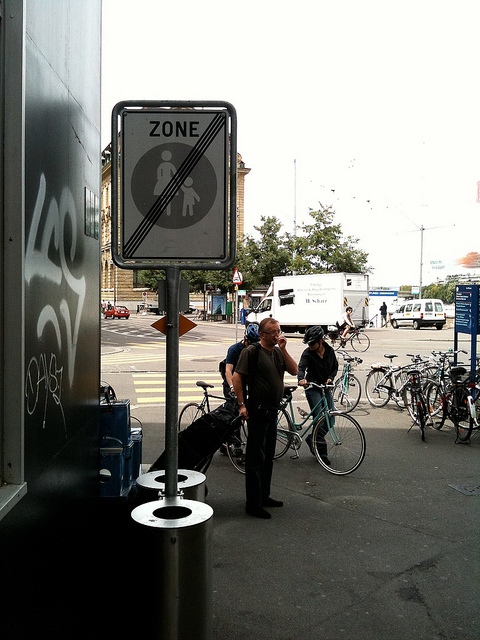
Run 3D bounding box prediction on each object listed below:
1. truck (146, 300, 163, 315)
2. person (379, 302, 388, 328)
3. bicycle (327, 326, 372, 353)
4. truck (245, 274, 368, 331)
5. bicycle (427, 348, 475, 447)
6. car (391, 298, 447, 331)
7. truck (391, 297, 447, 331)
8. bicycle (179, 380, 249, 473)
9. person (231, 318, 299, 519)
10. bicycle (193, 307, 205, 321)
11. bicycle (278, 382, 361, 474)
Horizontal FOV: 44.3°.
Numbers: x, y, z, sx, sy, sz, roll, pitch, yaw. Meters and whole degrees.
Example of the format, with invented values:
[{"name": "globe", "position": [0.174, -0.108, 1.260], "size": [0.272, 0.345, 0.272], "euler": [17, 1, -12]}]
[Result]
[{"name": "truck", "position": [-10.128, -1.600, 68.336], "size": [1.087, 1.642, 6.473], "euler": [0, 1, -11]}, {"name": "person", "position": [10.626, -0.448, 43.485], "size": [0.406, 1.782, 1.867], "euler": [0, 1, 12]}, {"name": "bicycle", "position": [4.163, 0.732, 22.675], "size": [1.376, 1.312, 0.852], "euler": [0, 1, 1]}, {"name": "truck", "position": [3.686, -1.744, 31.717], "size": [6.913, 4.714, 2.900], "euler": [5, 4, 41]}, {"name": "bicycle", "position": [3.118, 1.096, 8.762], "size": [0.615, 1.129, 2.312], "euler": [0, 1, 16]}, {"name": "car", "position": [11.811, -0.450, 39.358], "size": [1.641, 2.080, 3.515], "euler": [-1, 7, -12]}, {"name": "truck", "position": [11.901, -0.438, 39.404], "size": [1.653, 2.050, 3.663], "euler": [0, 7, -11]}, {"name": "bicycle", "position": [-0.162, 1.241, 7.477], "size": [0.540, 1.318, 1.580], "euler": [1, -3, -22]}, {"name": "person", "position": [0.181, 0.823, 5.323], "size": [0.465, 1.668, 0.716], "euler": [0, 1, 21]}, {"name": "bicycle", "position": [-3.739, -0.543, 56.465], "size": [0.581, 1.133, 1.745], "euler": [0, -4, -10]}, {"name": "bicycle", "position": [0.925, 1.221, 6.826], "size": [0.485, 0.995, 1.215], "euler": [3, -5, -32]}]
